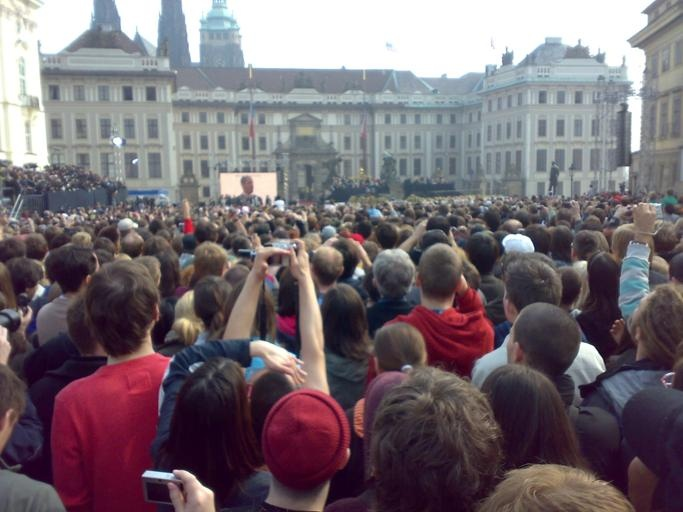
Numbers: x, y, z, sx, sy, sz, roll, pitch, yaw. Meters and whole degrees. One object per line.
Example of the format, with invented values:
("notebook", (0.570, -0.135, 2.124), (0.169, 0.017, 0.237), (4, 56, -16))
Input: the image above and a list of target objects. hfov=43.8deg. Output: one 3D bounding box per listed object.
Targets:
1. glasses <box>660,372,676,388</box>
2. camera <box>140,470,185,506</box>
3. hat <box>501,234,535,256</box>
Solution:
("glasses", (2.302, 0.878, 6.006), (0.082, 0.088, 0.096), (2, -7, -14))
("camera", (-1.019, 1.344, 4.873), (0.209, 0.218, 0.093), (5, 6, 18))
("hat", (1.977, -0.131, 9.607), (0.289, 0.177, 0.357), (0, 11, 1))
